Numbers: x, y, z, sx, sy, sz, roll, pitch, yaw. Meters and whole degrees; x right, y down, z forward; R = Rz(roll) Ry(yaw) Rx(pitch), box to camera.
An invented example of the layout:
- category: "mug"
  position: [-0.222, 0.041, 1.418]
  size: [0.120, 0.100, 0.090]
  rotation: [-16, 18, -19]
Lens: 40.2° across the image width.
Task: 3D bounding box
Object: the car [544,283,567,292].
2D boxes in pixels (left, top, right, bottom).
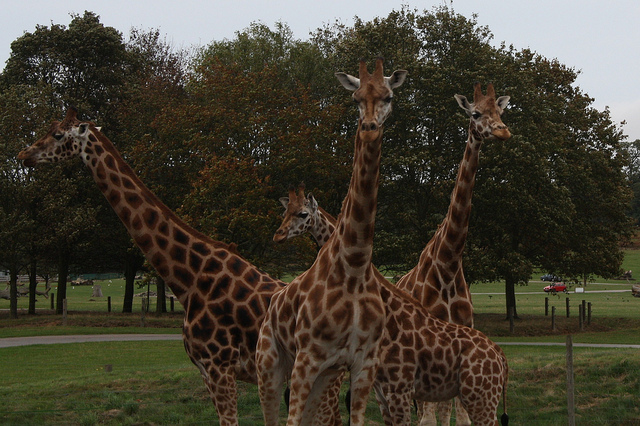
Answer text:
- category: "car"
  position: [20.536, 6.440, 75.427]
  size: [2.017, 0.728, 1.357]
  rotation: [7, -11, -40]

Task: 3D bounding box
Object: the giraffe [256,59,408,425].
- category: "giraffe"
  position: [0.514, 1.040, 27.714]
  size: [4.593, 11.201, 1.901]
  rotation: [-6, -10, 36]
